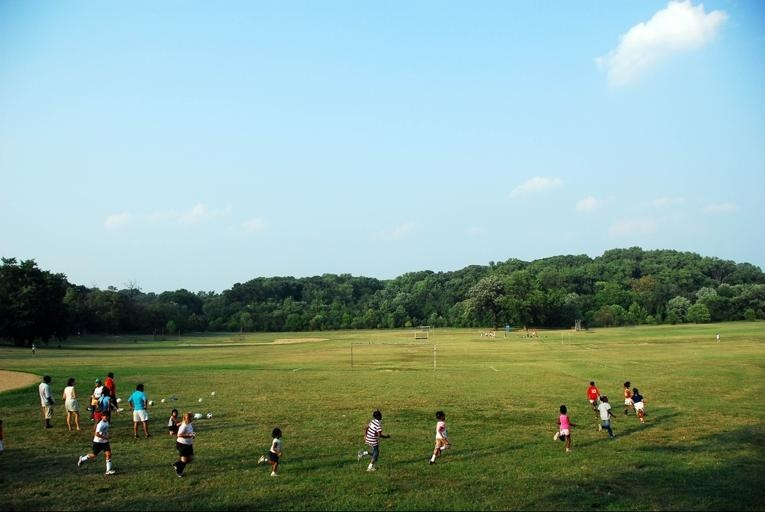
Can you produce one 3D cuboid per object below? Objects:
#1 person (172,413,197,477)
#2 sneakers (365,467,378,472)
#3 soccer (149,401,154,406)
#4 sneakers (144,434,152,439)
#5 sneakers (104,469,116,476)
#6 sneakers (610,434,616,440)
[{"bbox_3d":[-11.937,11.180,37.875,1.009,3.722,0.934,0,0,-11],"label":"person"},{"bbox_3d":[-0.608,12.756,38.083,0.599,0.259,0.198,-1,2,6],"label":"sneakers"},{"bbox_3d":[-18.400,11.575,50.056,0.393,0.313,0.317,-1,33,-1],"label":"soccer"},{"bbox_3d":[-15.922,12.144,42.782,0.270,0.411,0.283,-5,-3,-27],"label":"sneakers"},{"bbox_3d":[-16.372,12.950,37.961,0.677,0.288,0.242,-4,-2,8],"label":"sneakers"},{"bbox_3d":[15.483,12.085,42.557,0.169,0.225,0.556,2,2,23],"label":"sneakers"}]
